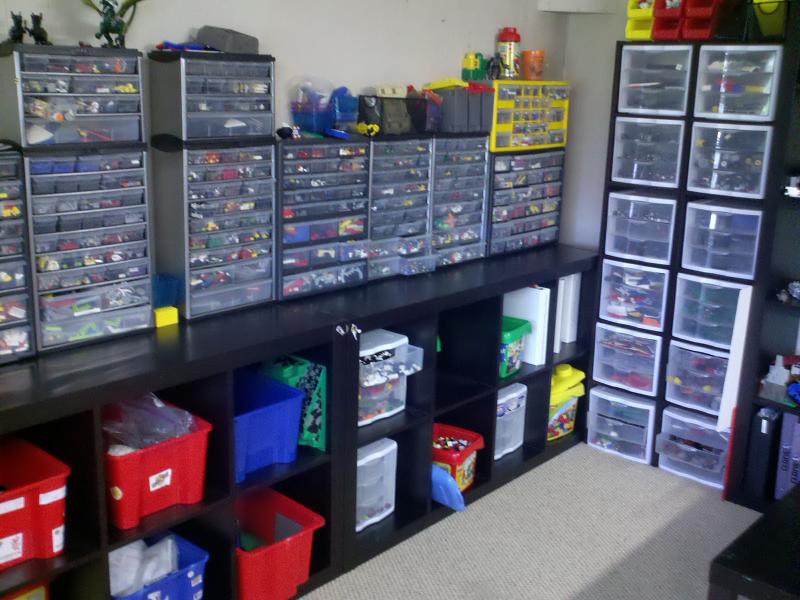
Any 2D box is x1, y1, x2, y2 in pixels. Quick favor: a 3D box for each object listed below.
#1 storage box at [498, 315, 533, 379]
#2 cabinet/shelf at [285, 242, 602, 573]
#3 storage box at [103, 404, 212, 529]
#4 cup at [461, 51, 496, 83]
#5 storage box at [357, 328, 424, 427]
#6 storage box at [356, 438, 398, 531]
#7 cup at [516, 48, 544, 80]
[{"bbox_3d":[0.565,0.232,3.077,0.208,0.218,0.300,5,10,30],"label":"storage box"},{"bbox_3d":[0.156,0.483,2.724,1.245,1.926,0.524,-5,8,-44],"label":"cabinet/shelf"},{"bbox_3d":[-0.810,0.561,2.061,0.267,0.250,0.387,-10,23,-34],"label":"storage box"},{"bbox_3d":[0.398,-1.190,3.223,0.244,0.195,0.094,-20,32,-37],"label":"cup"},{"bbox_3d":[-0.068,0.305,2.655,0.278,0.337,0.375,-10,16,-40],"label":"storage box"},{"bbox_3d":[-0.104,0.772,2.650,0.077,0.368,0.259,16,26,39],"label":"storage box"},{"bbox_3d":[0.658,-1.252,3.333,0.151,0.168,0.151,-2,21,1],"label":"cup"}]
